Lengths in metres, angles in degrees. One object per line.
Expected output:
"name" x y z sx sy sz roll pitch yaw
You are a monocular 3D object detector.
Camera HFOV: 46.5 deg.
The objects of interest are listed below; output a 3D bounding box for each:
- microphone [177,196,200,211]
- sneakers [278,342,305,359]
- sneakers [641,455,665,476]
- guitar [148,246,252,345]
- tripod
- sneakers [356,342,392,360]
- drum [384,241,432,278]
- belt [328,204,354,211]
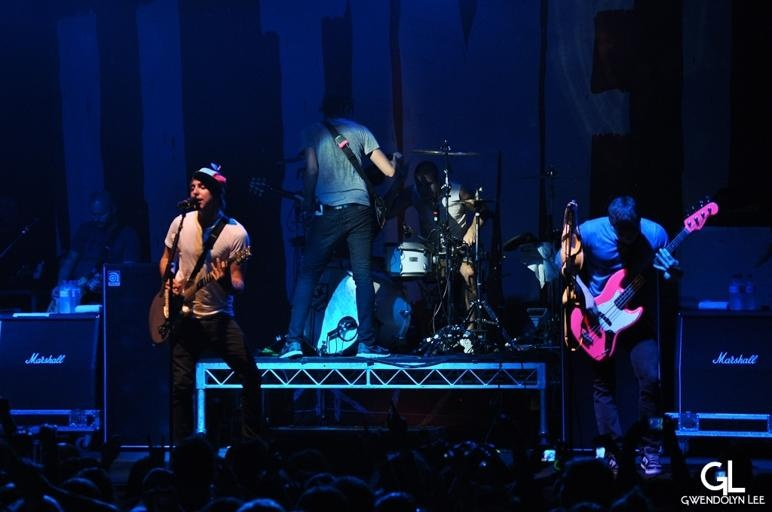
"microphone" -1.866 -0.516 8.420 0.113 0.094 0.203 -32 -18 34
"sneakers" -1.014 0.979 9.463 0.278 0.180 0.245 0 -5 -14
"sneakers" 2.511 1.918 8.506 0.163 0.237 0.228 -1 -1 -18
"guitar" -1.841 0.413 8.568 0.160 0.547 1.392 5 -44 -51
"tripod" 0.847 -0.055 10.430 1.024 2.303 1.207 -1 -4 1
"sneakers" -0.143 0.990 9.498 0.355 0.174 0.149 0 -5 -1
"drum" 0.251 0.032 10.343 0.427 0.368 0.288 1 2 -1
"belt" -0.496 -0.533 9.626 0.262 0.064 0.025 -1 -4 4
